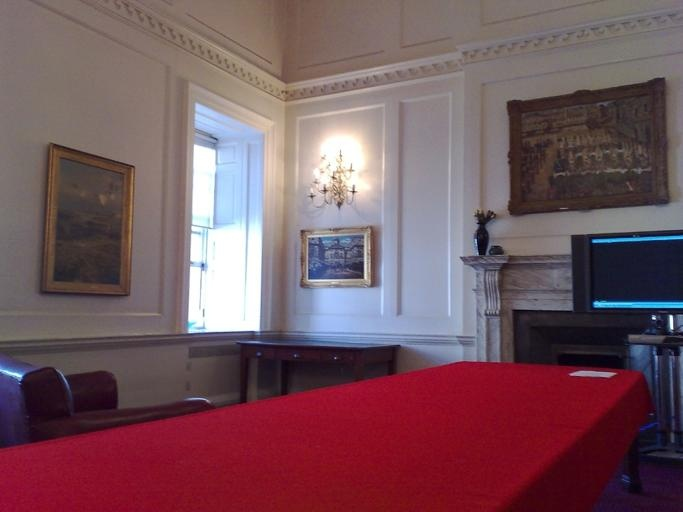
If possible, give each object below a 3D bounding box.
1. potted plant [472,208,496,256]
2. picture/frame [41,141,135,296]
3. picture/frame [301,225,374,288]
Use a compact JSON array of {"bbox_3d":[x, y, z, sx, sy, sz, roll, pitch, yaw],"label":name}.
[{"bbox_3d":[1.443,-0.237,4.943,0.230,0.484,0.222,-3,-5,18],"label":"potted plant"},{"bbox_3d":[-2.154,-0.283,4.259,0.071,1.204,0.749,-5,-6,35],"label":"picture/frame"},{"bbox_3d":[-0.011,0.016,5.845,0.686,0.548,0.033,-1,-3,28],"label":"picture/frame"}]
